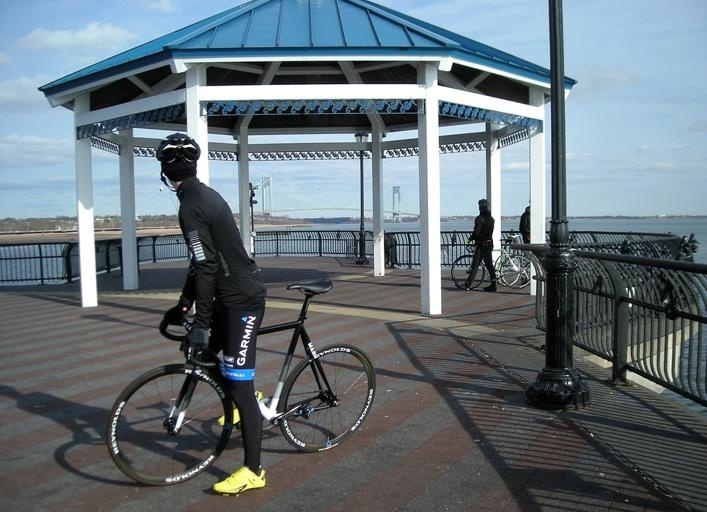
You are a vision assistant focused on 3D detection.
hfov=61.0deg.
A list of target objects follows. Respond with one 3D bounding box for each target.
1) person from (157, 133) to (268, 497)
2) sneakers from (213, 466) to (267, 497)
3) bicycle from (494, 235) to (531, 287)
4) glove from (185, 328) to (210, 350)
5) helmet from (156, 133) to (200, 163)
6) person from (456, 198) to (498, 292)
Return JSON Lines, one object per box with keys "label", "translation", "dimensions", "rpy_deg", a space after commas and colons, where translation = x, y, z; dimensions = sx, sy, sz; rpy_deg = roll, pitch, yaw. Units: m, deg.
{"label": "person", "translation": [-1.164, 0.502, 5.297], "dimensions": [0.776, 3.195, 0.507], "rpy_deg": [-5, 5, -16]}
{"label": "sneakers", "translation": [-0.992, 1.965, 5.279], "dimensions": [0.542, 0.249, 0.191], "rpy_deg": [1, -1, -15]}
{"label": "bicycle", "translation": [4.156, 0.207, 15.847], "dimensions": [0.866, 1.144, 2.706], "rpy_deg": [-2, 5, 13]}
{"label": "glove", "translation": [-1.303, 0.694, 5.057], "dimensions": [0.188, 0.190, 0.106], "rpy_deg": [-6, 6, -26]}
{"label": "helmet", "translation": [-1.547, -0.950, 5.279], "dimensions": [0.330, 0.263, 0.226], "rpy_deg": [-8, 7, -44]}
{"label": "person", "translation": [3.112, -0.244, 14.767], "dimensions": [0.715, 2.266, 1.483], "rpy_deg": [-3, 5, 13]}
